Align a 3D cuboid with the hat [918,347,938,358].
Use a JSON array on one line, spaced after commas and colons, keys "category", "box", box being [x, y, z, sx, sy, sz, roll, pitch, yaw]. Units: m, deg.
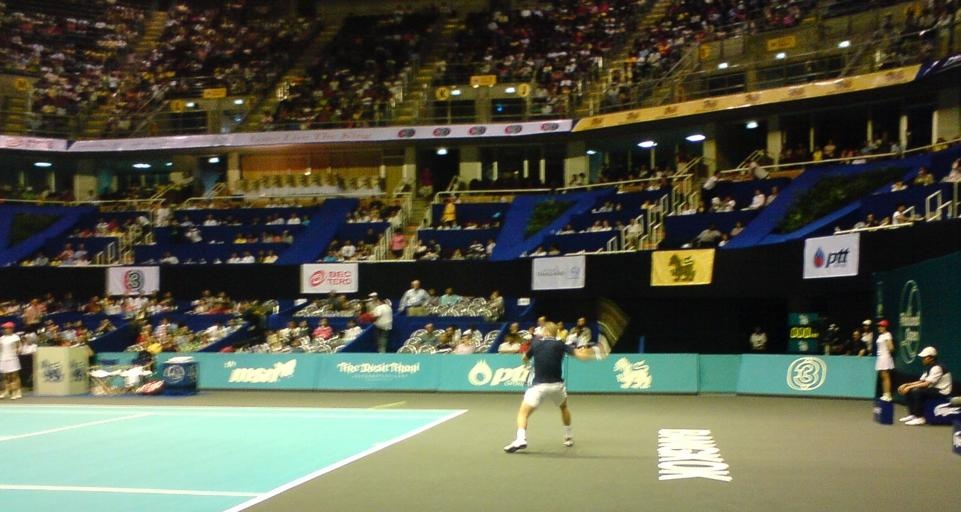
[{"category": "hat", "box": [18.021, 3.893, 38.998, 0.915, 0.366, 0.539, 6, -6, -9]}]
